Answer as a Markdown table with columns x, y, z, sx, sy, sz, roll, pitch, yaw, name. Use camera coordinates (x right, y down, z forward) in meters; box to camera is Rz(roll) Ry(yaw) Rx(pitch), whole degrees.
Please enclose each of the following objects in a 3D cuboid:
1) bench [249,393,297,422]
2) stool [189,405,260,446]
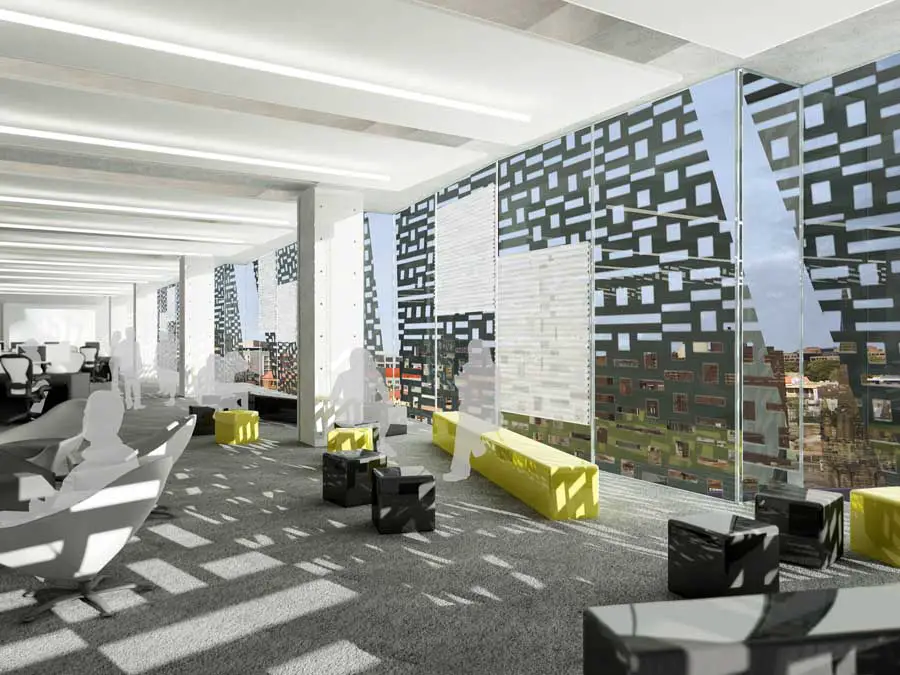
| x | y | z | sx | sy | sz | roll | pitch | yaw | name |
| --- | --- | --- | --- | --- | --- | --- | --- | --- | --- |
| -3.406 | 1.370 | 11.500 | 1.067 | 0.497 | 0.634 | 6 | -1 | 16 | bench |
| -3.625 | 1.371 | 9.561 | 1.004 | 0.475 | 1.433 | 0 | 3 | -28 | stool |
